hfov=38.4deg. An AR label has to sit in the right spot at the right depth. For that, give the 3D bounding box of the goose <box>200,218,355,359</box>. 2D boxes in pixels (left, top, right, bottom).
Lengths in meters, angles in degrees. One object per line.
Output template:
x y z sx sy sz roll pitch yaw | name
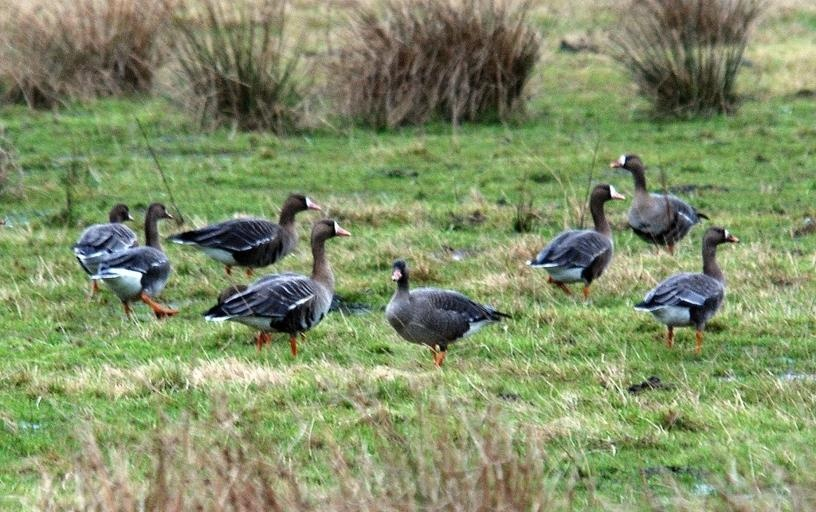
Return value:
-1.907 0.494 17.729 1.283 1.489 2.383 7 20 24 | goose

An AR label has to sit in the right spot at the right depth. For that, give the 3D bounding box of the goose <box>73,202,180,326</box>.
-4.398 0.055 18.813 1.254 1.369 1.881 -5 19 -11 | goose

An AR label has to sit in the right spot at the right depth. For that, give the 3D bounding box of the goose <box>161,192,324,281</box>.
-2.677 -0.368 19.302 2.558 1.753 1.057 3 11 -29 | goose
